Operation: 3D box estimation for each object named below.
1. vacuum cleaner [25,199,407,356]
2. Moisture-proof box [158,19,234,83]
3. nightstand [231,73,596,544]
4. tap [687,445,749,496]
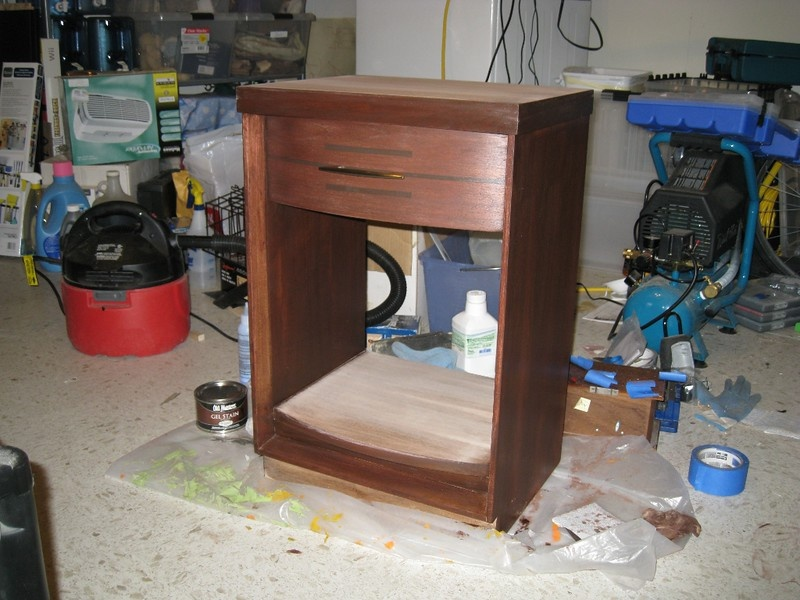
[{"bbox_3d":[-0.682,-0.064,2.197,1.275,0.490,0.716,-12,26,-29],"label":"vacuum cleaner"},{"bbox_3d":[-1.048,-1.295,3.421,0.352,0.307,0.101,-15,27,-35],"label":"Moisture-proof box"},{"bbox_3d":[0.032,-0.024,1.702,0.780,1.045,0.790,10,20,25],"label":"nightstand"},{"bbox_3d":[0.778,0.418,1.599,0.129,0.075,0.125,13,24,28],"label":"tap"}]
